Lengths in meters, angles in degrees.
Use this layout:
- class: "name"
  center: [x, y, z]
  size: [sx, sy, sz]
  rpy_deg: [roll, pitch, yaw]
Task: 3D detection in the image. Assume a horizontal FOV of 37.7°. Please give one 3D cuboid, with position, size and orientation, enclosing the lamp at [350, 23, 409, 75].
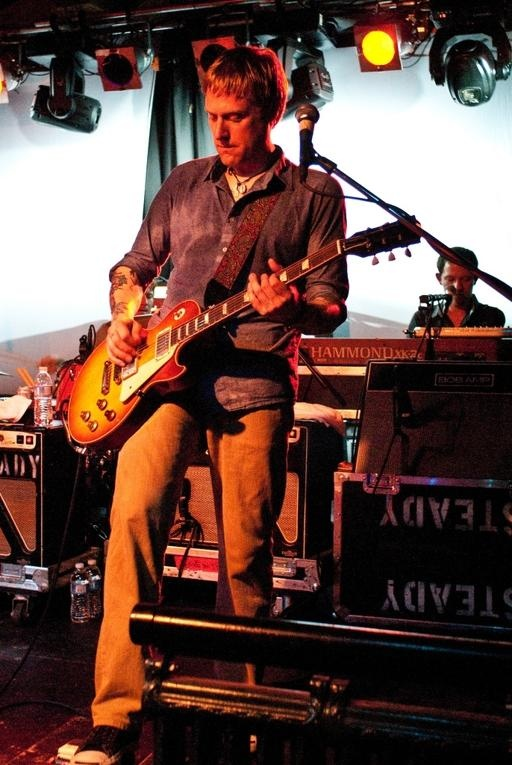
- class: "lamp"
  center: [0.676, -1.879, 4.181]
  size: [0.254, 0.184, 0.143]
  rpy_deg: [5, -12, 12]
